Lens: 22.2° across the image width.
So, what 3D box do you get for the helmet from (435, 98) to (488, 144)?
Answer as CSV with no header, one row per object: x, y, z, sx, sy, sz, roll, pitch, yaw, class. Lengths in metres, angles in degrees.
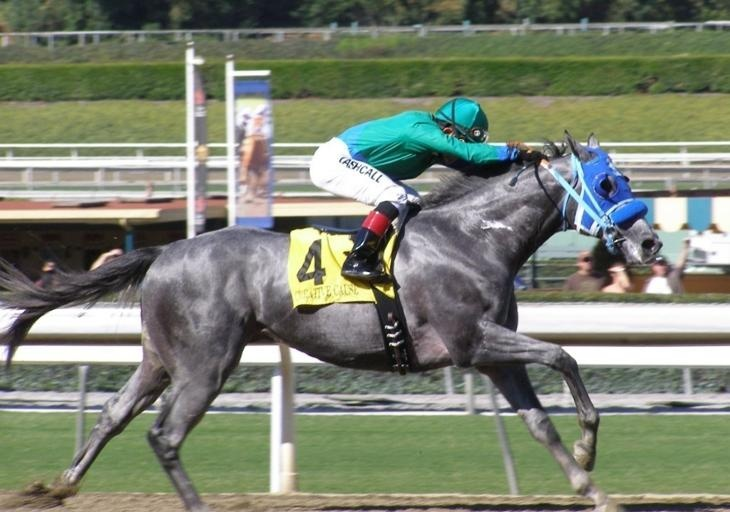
1.170,-1.615,21.854,0.701,0.463,0.466,14,15,-2,helmet
